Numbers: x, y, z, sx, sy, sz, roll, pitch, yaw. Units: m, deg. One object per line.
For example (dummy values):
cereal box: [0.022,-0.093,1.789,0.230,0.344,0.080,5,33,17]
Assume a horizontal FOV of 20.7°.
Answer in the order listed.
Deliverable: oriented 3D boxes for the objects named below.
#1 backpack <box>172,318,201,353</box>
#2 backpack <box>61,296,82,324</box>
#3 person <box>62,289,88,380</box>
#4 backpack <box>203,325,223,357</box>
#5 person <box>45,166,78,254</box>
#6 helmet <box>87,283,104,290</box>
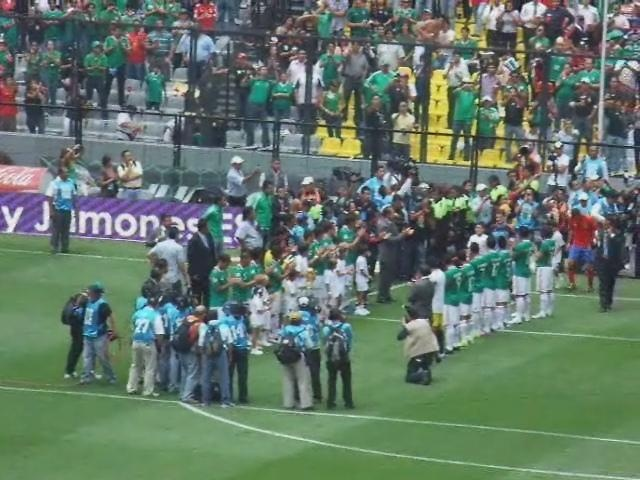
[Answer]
backpack: [-3.335,2.421,44.236,0.612,0.853,0.501,21,-16,49]
backpack: [-6.446,1.816,45.535,0.550,0.820,0.342,1,3,10]
person: [-6.320,2.443,45.864,0.911,2.184,0.967,-2,7,-12]
backpack: [-2.685,2.533,43.952,0.484,0.788,0.295,0,3,-3]
person: [-7.698,-0.874,52.279,0.807,2.571,1.439,0,3,-8]
helmet: [-5.797,1.188,45.292,0.368,0.158,0.494,0,3,-7]
